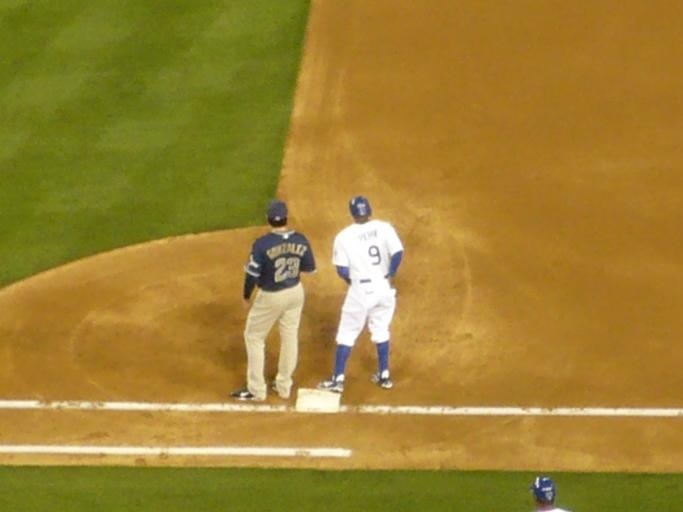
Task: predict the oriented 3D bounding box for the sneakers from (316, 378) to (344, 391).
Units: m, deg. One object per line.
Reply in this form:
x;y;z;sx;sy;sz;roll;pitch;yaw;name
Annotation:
-0.170;2.005;24.462;0.465;0.244;0.182;4;49;1;sneakers

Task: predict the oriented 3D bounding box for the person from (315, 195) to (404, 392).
0.299;0.550;24.423;1.108;3.167;0.956;-3;21;-12;person

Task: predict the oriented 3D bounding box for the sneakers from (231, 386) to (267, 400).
-1.432;2.158;24.463;0.548;0.266;0.219;8;15;-4;sneakers

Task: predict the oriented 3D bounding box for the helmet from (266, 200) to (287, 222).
-0.979;-0.649;23.670;0.298;0.256;0.273;-9;57;-10;helmet

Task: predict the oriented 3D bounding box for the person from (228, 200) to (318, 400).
-1.046;0.634;24.277;1.154;3.232;0.979;-7;25;-20;person
